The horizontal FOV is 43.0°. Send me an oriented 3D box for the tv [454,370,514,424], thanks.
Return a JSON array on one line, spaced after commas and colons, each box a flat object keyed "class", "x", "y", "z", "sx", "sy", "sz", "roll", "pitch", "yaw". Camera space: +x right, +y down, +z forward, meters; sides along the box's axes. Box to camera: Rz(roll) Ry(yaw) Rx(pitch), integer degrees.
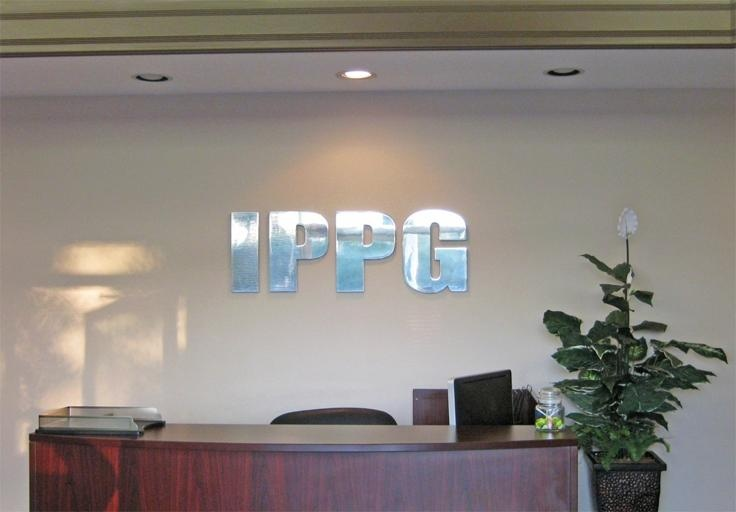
[{"class": "tv", "x": 0.758, "y": 0.942, "z": 6.101, "sx": 0.383, "sy": 0.369, "sz": 0.049, "roll": 1, "pitch": -13, "yaw": -33}]
